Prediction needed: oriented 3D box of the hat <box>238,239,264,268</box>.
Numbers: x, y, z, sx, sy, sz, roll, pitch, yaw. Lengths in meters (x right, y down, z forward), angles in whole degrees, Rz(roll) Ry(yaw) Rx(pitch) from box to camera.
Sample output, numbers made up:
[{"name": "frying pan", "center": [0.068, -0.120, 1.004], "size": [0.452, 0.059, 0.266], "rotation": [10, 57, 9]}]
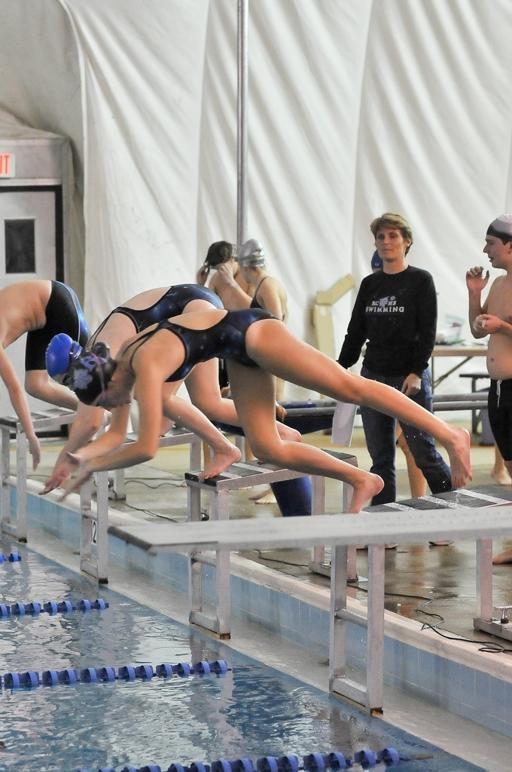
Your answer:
[{"name": "hat", "center": [-0.036, -0.659, 4.629], "size": [0.106, 0.131, 0.142], "rotation": [-3, 0, -23]}]

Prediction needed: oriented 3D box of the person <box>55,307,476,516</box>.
[{"name": "person", "center": [0.040, 0.086, 2.481], "size": [1.102, 0.513, 0.307], "rotation": [7, -8, -2]}]

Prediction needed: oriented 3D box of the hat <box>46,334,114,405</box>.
[{"name": "hat", "center": [-0.455, -0.048, 2.426], "size": [0.137, 0.157, 0.381], "rotation": [-2, 0, -17]}]
